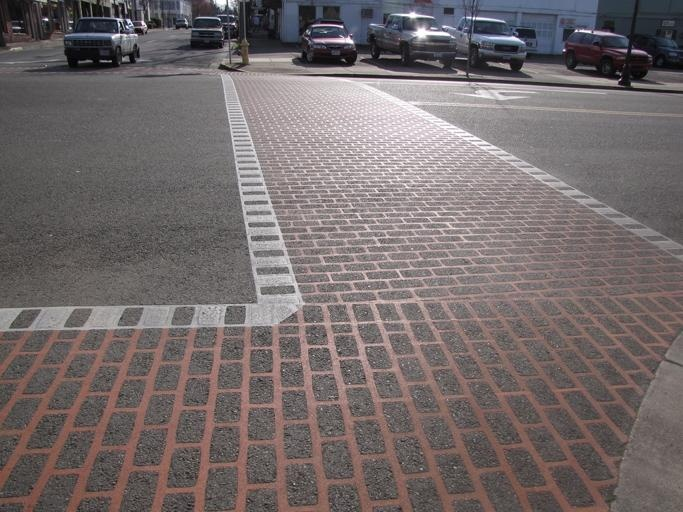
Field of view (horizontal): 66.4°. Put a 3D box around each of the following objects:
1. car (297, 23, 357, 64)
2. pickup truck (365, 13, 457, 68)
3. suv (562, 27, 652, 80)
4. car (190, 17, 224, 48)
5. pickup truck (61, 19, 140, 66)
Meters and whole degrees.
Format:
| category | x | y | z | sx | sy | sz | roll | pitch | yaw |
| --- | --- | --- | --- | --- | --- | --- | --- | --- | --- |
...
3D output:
| category | x | y | z | sx | sy | sz | roll | pitch | yaw |
| --- | --- | --- | --- | --- | --- | --- | --- | --- | --- |
| car | -0.662 | -11.408 | 27.892 | 2.341 | 1.962 | 2.977 | -2 | 24 | -11 |
| pickup truck | 3.656 | -11.904 | 28.534 | 3.073 | 1.945 | 6.033 | -9 | 27 | -19 |
| suv | 14.878 | -11.426 | 29.231 | 3.026 | 2.245 | 5.560 | -9 | 25 | -14 |
| car | -9.995 | -16.755 | 38.900 | 1.920 | 1.339 | 3.104 | -1 | 26 | -7 |
| pickup truck | -11.416 | -10.202 | 24.803 | 2.045 | 2.194 | 3.616 | 3 | 24 | -1 |
